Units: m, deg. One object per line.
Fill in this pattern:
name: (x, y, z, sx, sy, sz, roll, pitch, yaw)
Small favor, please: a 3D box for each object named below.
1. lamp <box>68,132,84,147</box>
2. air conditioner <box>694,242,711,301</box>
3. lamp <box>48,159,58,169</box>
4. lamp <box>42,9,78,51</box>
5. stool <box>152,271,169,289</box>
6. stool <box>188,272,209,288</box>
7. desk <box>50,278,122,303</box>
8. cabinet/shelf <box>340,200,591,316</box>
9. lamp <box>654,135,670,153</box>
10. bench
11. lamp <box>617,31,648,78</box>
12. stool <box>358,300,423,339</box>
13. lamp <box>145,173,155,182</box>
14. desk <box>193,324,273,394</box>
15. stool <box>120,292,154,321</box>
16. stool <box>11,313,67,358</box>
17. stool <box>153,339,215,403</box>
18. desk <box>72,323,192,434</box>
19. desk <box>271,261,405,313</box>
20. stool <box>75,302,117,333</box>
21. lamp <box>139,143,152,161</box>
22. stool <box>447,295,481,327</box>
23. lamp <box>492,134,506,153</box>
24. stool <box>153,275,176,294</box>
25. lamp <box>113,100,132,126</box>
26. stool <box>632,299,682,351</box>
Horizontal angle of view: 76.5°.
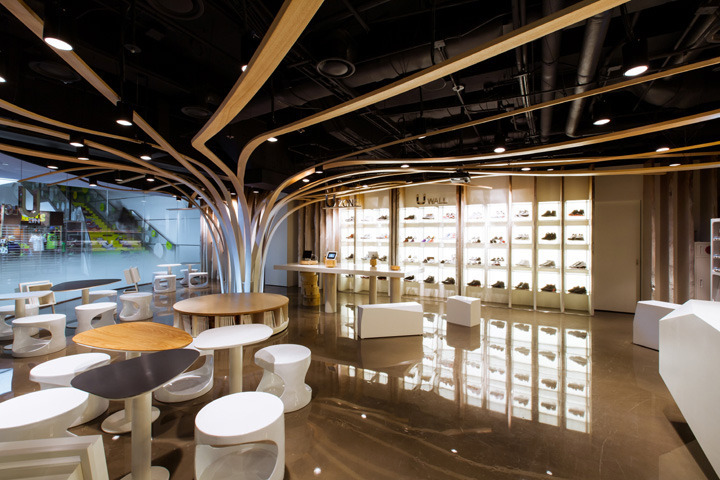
lamp: (-4.667, -1.658, 7.536, 0.196, 0.212, 0.179, -1, -1, -30)
air conditioner: (7.496, 0.670, 10.000, 0.278, 1.382, 0.230, -2, 0, 34)
lamp: (-6.748, -1.666, 10.008, 0.218, 0.185, 0.409, -1, -1, -32)
lamp: (-3.644, -2.537, 5.513, 0.299, 0.432, 0.276, -1, -1, -35)
stool: (-6.432, 1.287, 14.514, 0.520, 0.440, 1.545, -2, 1, -30)
stool: (-5.446, 1.373, 15.341, 0.579, 0.415, 0.590, 3, 3, 38)
desk: (-5.705, 1.094, 9.484, 0.946, 0.451, 1.405, -1, -1, -18)
cabinet/shelf: (2.770, 0.129, 12.376, 6.771, 2.864, 0.719, 1, 0, 0)
lamp: (5.532, -1.796, 8.341, 0.239, 0.367, 0.594, -2, -1, 35)
bench: (-1.158, 2.237, 7.202, 0.849, 0.697, 0.764, 1, -7, -27)
lamp: (3.688, -2.507, 6.128, 0.292, 0.595, 0.382, -2, -1, 30)
stool: (0.626, 1.688, 9.712, 1.430, 0.650, 0.459, 0, -1, -19)
lamp: (-5.433, -1.587, 11.773, 0.328, 0.192, 0.318, -1, 5, -15)
desk: (-1.898, 1.824, 6.879, 1.055, 0.951, 1.101, -1, -1, -17)
stool: (-5.221, 1.593, 10.834, 0.713, 0.509, 0.718, -1, -5, 32)
stool: (-6.012, 1.771, 8.638, 0.777, 0.549, 0.694, 1, 2, -41)
stool: (-2.809, 2.148, 7.407, 1.037, 0.864, 0.650, 6, -4, -24)
desk: (-3.254, 1.857, 6.572, 1.413, 1.012, 1.142, 6, 5, -2)
desk: (-0.200, 1.367, 12.058, 1.617, 1.197, 3.969, 3, -3, 39)
stool: (-5.318, 1.503, 9.324, 0.719, 0.558, 0.798, 1, 0, -5)
lamp: (-3.706, -1.521, 7.866, 0.181, 0.251, 0.400, -1, -1, -26)
stool: (2.368, 1.629, 10.425, 0.507, 0.712, 0.703, -1, -1, -43)
lamp: (2.499, -1.714, 8.153, 0.188, 0.323, 0.424, -2, -1, 18)
stool: (-6.108, 1.349, 14.206, 0.584, 0.522, 0.860, -1, -1, -29)
lamp: (-3.357, -1.813, 6.474, 0.206, 0.302, 0.186, -1, -1, -27)
stool: (5.551, 1.623, 8.641, 0.462, 1.008, 0.756, -1, -1, 4)
